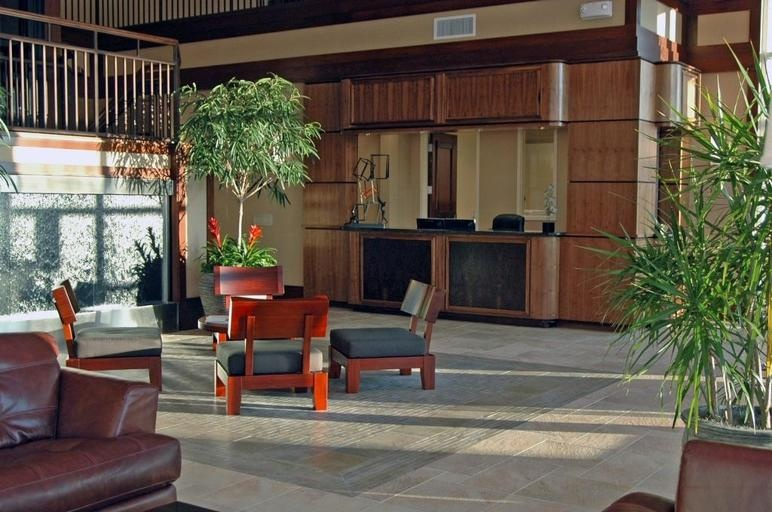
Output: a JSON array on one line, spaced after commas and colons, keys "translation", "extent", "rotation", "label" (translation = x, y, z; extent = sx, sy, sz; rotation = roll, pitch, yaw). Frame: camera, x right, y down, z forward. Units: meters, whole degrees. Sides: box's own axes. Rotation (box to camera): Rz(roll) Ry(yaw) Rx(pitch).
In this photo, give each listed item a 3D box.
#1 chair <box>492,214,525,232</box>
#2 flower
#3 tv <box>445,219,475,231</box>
[{"translation": [1.900, -0.495, 9.381], "extent": [0.323, 0.441, 0.396], "rotation": [1, 1, 25], "label": "chair"}, {"translation": [-2.153, -0.047, 8.914], "extent": [1.349, 0.955, 1.180], "rotation": [1, 3, -1], "label": "flower"}, {"translation": [1.181, -0.460, 9.340], "extent": [0.494, 0.172, 0.267], "rotation": [4, 6, 30], "label": "tv"}]
